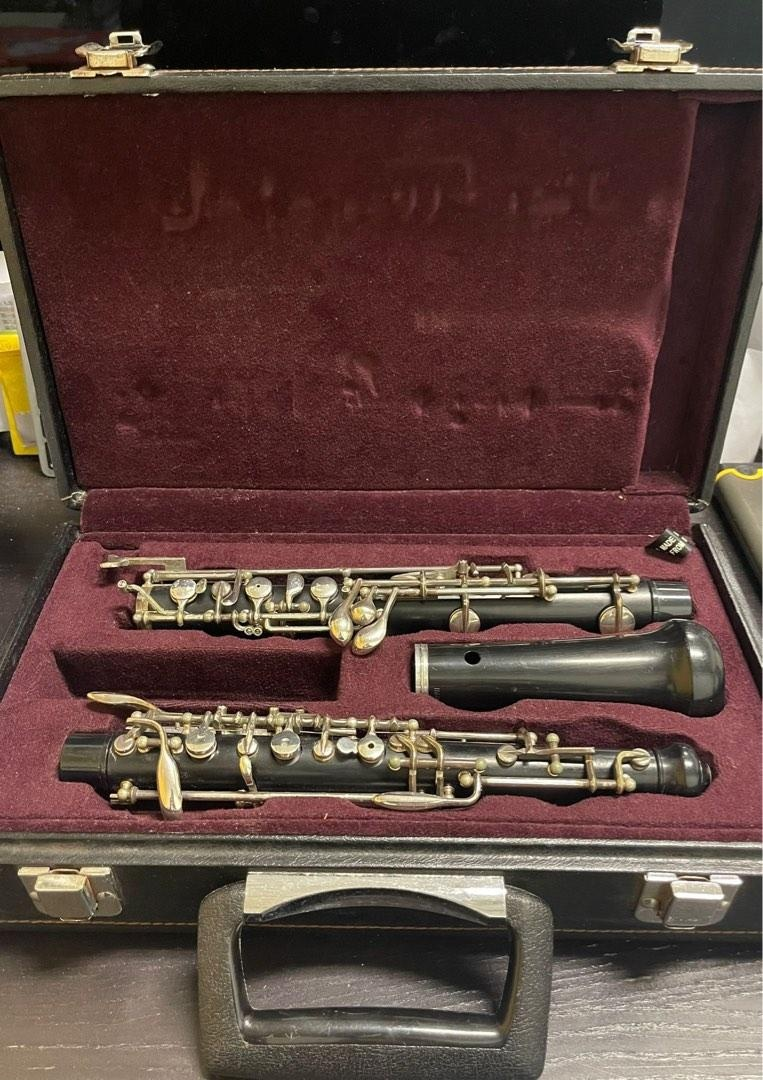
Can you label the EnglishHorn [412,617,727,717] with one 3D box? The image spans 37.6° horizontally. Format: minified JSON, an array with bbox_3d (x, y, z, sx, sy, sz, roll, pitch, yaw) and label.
[{"bbox_3d":[0.397,0.252,2.541,0.760,0.292,0.254,-1,5,-1],"label":"EnglishHorn"}]
